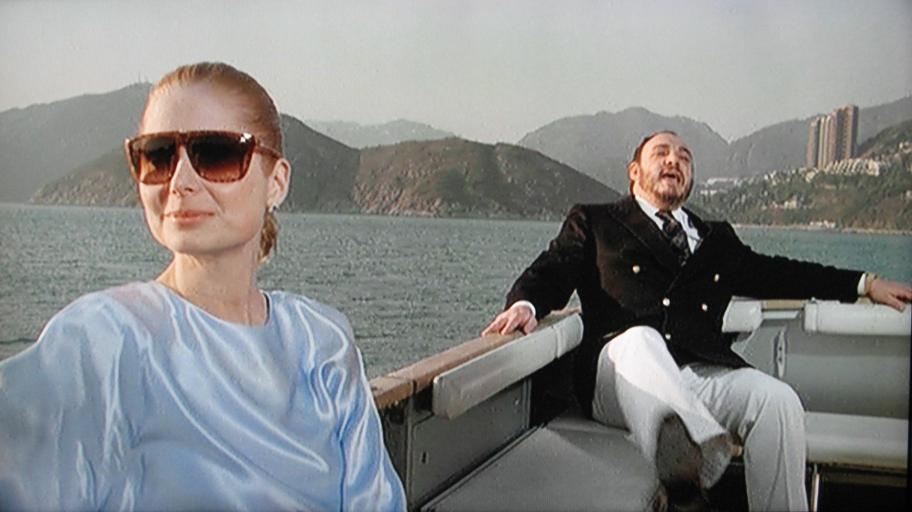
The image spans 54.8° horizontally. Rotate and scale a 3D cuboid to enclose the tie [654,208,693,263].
[{"bbox_3d":[2.799,-0.264,11.614,0.248,0.813,0.209,-25,-13,-8],"label":"tie"}]
